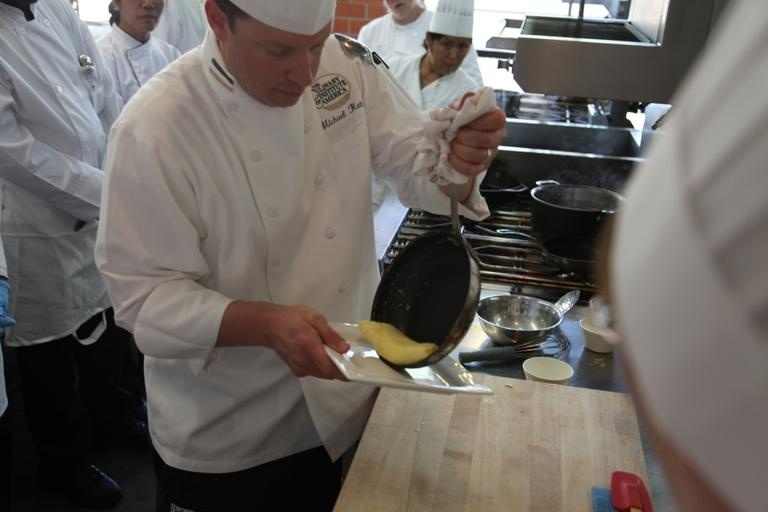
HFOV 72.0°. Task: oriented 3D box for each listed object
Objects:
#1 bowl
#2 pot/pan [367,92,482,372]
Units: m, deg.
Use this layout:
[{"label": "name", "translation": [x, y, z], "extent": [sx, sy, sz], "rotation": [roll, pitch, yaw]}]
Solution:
[{"label": "bowl", "translation": [0.398, 0.188, 1.587], "extent": [0.175, 0.068, 0.183], "rotation": [2, 24, -1]}, {"label": "pot/pan", "translation": [0.129, -0.026, 1.112], "extent": [0.073, 0.541, 0.261], "rotation": [12, 1, -37]}]
